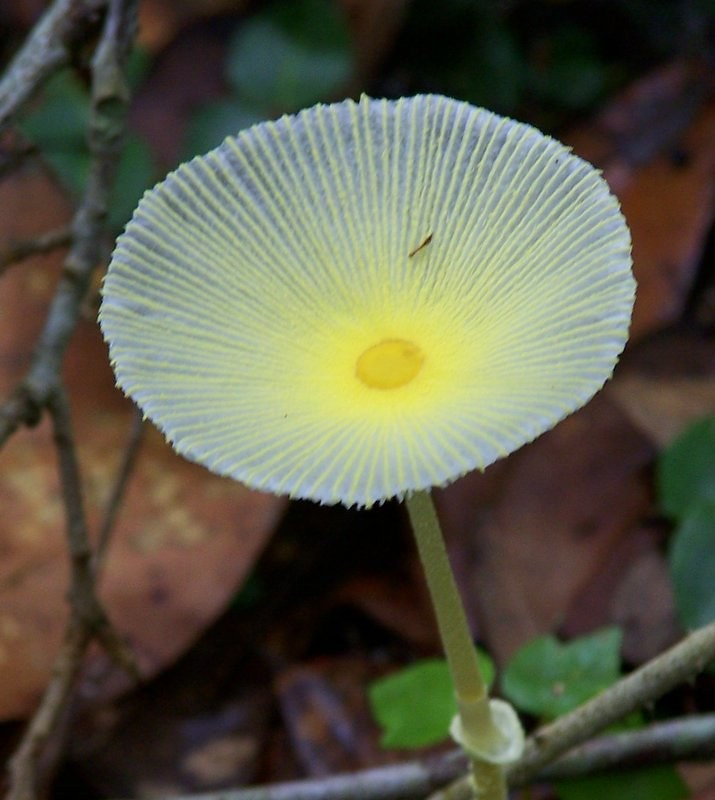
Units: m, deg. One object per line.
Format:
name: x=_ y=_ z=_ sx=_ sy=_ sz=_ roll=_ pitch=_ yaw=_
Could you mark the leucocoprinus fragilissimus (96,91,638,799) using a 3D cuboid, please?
leucocoprinus fragilissimus: x=0.011 y=0.099 z=1.061 sx=0.469 sy=0.735 sz=0.491 roll=29 pitch=66 yaw=30
